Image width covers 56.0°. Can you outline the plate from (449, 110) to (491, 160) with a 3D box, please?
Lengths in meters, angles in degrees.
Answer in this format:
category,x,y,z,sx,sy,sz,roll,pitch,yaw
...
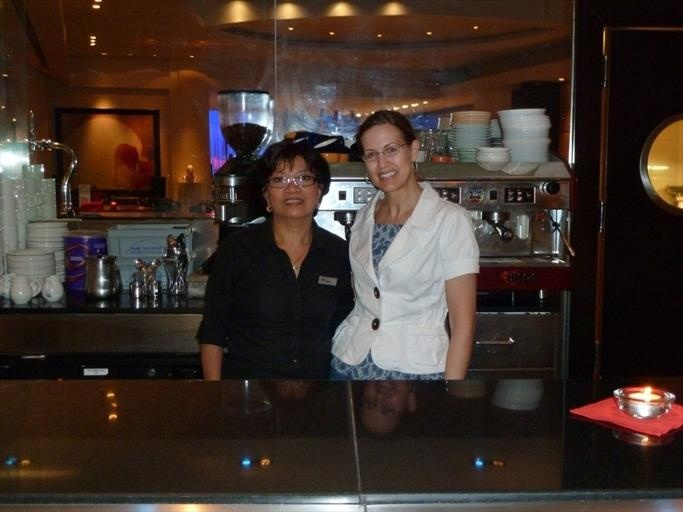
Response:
category,x,y,z,sx,sy,sz,roll,pitch,yaw
plate,0.718,-0.668,3.599,0.284,0.292,0.279,4,8,29

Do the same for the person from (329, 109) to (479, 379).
category,x,y,z,sx,sy,sz,roll,pitch,yaw
person,0.199,-0.018,2.219,0.476,0.942,0.610,-12,19,-39

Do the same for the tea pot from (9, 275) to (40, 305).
category,x,y,z,sx,sy,sz,roll,pitch,yaw
tea pot,-1.541,0.165,3.106,0.114,0.131,0.154,-1,-5,38

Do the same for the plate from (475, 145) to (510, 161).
category,x,y,z,sx,sy,sz,roll,pitch,yaw
plate,0.819,-0.555,3.454,0.117,0.056,0.104,-7,15,-26

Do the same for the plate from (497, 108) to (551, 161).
category,x,y,z,sx,sy,sz,roll,pitch,yaw
plate,0.985,-0.679,3.637,0.321,0.287,0.282,-2,4,1

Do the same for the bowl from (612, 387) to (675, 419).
category,x,y,z,sx,sy,sz,roll,pitch,yaw
bowl,0.717,0.333,1.505,0.098,0.043,0.091,0,3,0

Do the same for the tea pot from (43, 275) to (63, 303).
category,x,y,z,sx,sy,sz,roll,pitch,yaw
tea pot,-1.404,0.160,3.126,0.105,0.119,0.131,4,5,-6

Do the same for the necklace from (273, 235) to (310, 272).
category,x,y,z,sx,sy,sz,roll,pitch,yaw
necklace,-0.164,-0.010,2.395,0.150,0.122,0.043,-2,-6,-13

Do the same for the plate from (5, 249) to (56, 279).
category,x,y,z,sx,sy,sz,roll,pitch,yaw
plate,-1.591,0.025,3.283,0.193,0.108,0.181,-2,7,-36

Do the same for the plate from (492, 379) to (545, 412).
category,x,y,z,sx,sy,sz,roll,pitch,yaw
plate,0.458,0.332,1.659,0.109,0.095,0.090,-3,26,15

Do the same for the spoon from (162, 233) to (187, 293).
category,x,y,z,sx,sy,sz,roll,pitch,yaw
spoon,-0.830,0.044,3.230,0.123,0.305,0.116,-4,15,-14

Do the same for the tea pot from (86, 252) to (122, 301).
category,x,y,z,sx,sy,sz,roll,pitch,yaw
tea pot,-1.194,0.109,3.234,0.227,0.205,0.168,-4,9,-34
